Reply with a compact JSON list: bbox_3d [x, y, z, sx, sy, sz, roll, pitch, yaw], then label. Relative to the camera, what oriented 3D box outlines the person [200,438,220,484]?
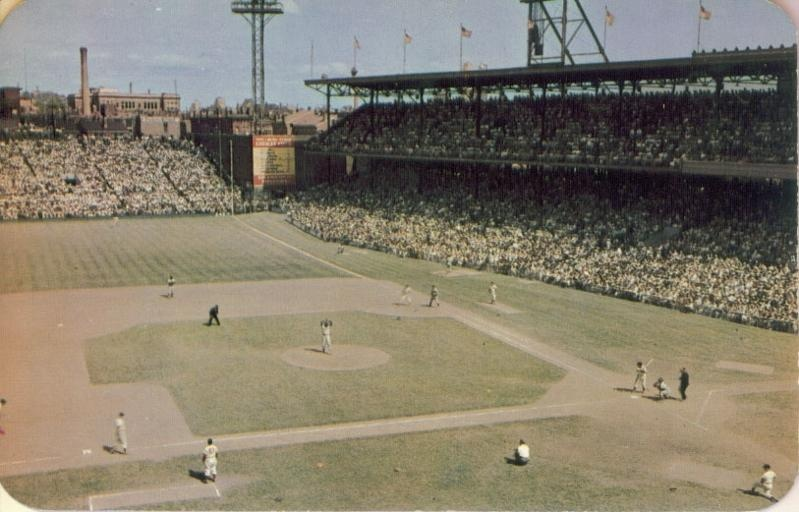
[{"bbox_3d":[-11.596,12.439,89.076,1.022,2.588,1.022,-2,10,-15],"label":"person"}]

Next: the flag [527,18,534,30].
[{"bbox_3d":[11.231,-19.719,123.425,0.544,0.926,0.306,4,10,16],"label":"flag"}]

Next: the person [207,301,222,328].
[{"bbox_3d":[-13.048,4.107,102.543,1.368,1.967,1.133,0,10,1],"label":"person"}]

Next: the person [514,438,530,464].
[{"bbox_3d":[7.664,12.104,90.438,0.986,1.548,1.089,2,10,6],"label":"person"}]
